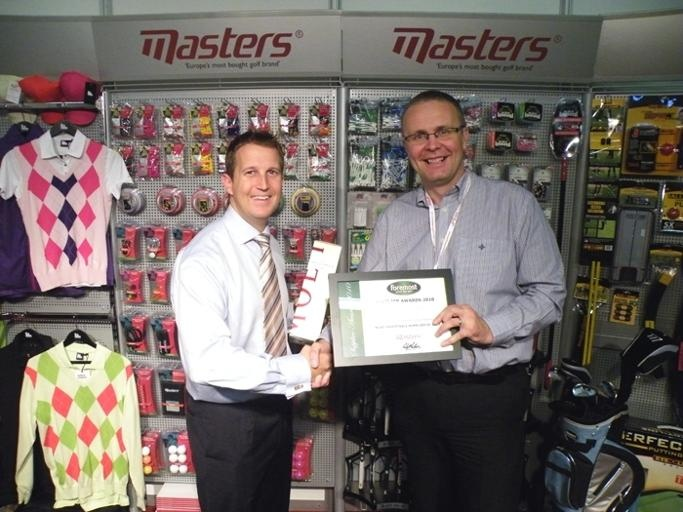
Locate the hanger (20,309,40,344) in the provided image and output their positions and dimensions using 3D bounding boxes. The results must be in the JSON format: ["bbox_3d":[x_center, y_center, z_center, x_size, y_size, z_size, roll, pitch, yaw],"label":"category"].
[{"bbox_3d":[-2.498,0.550,4.533,0.148,0.208,0.050,-3,-15,-24],"label":"hanger"}]

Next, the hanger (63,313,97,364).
[{"bbox_3d":[-2.034,0.649,4.414,0.358,0.399,0.031,-1,3,-13],"label":"hanger"}]

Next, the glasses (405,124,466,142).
[{"bbox_3d":[0.563,-0.745,3.500,0.361,0.118,0.086,0,5,8],"label":"glasses"}]

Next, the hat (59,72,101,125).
[{"bbox_3d":[-2.015,-1.228,4.356,0.327,0.439,0.248,5,24,-15],"label":"hat"}]

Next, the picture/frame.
[{"bbox_3d":[0.320,0.372,3.350,0.594,0.443,0.039,-3,-4,-1],"label":"picture/frame"}]

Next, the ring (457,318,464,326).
[{"bbox_3d":[0.694,0.392,3.300,0.010,0.032,0.032,18,-7,-14],"label":"ring"}]
